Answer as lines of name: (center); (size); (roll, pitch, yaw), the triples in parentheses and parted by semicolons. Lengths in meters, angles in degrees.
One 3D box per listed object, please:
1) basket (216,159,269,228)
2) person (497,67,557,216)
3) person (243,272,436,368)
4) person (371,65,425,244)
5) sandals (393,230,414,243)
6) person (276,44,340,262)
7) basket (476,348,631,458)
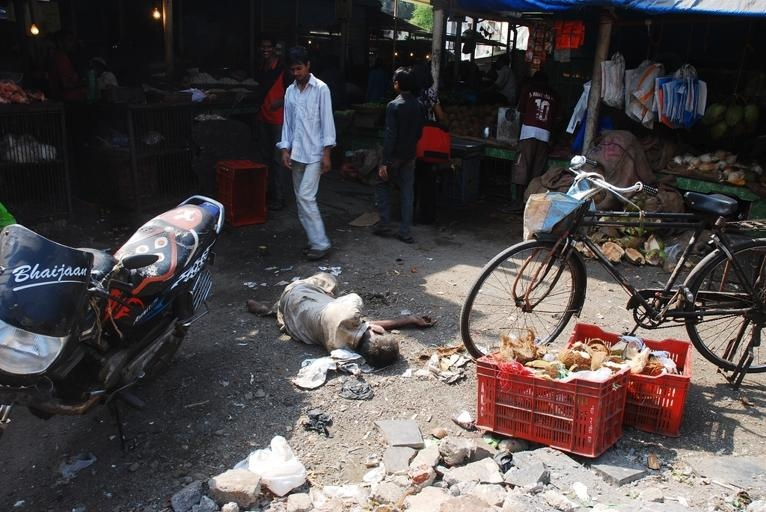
basket: (-2.104, -0.961, 9.241); (0.725, 0.869, 0.694); (-7, 25, -18)
person: (2.403, -1.949, 10.061); (0.776, 2.193, 0.699); (-1, 14, -33)
person: (-0.480, 0.649, 5.949); (1.595, 0.840, 0.622); (-5, -5, -9)
person: (0.230, -1.414, 8.612); (0.895, 2.350, 0.855); (13, 15, 34)
sandals: (0.298, -0.262, 8.733); (0.294, 0.108, 0.121); (8, -20, 18)
person: (-0.981, -1.339, 7.952); (0.716, 2.595, 1.085); (-5, 25, -12)
basket: (1.527, 1.203, 5.328); (1.303, 0.802, 1.106); (15, 21, 33)
